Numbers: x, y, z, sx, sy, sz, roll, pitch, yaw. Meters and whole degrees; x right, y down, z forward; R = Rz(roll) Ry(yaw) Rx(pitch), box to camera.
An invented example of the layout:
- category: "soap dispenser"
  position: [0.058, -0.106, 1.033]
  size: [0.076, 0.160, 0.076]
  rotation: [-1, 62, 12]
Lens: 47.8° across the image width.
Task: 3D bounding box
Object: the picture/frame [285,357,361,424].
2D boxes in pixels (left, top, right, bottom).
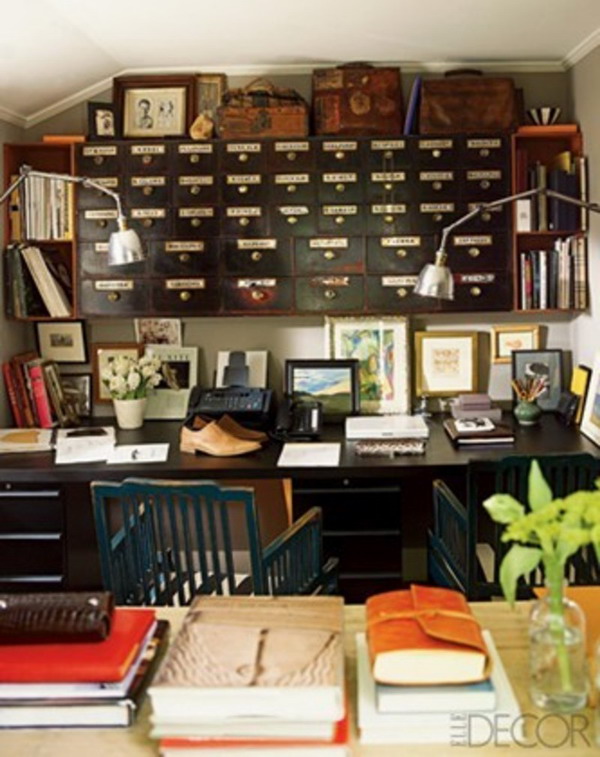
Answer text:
- category: "picture/frame"
  position: [0.118, 0.069, 3.297]
  size: [0.344, 0.276, 0.035]
  rotation: [0, -3, 1]

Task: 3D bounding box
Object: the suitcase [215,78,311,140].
- category: "suitcase"
  position: [-0.160, -1.221, 3.031]
  size: [0.325, 0.184, 0.309]
  rotation: [1, 21, 0]

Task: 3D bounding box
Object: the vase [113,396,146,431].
- category: "vase"
  position: [-0.825, 0.168, 3.281]
  size: [0.169, 0.122, 0.149]
  rotation: [-3, 9, -19]

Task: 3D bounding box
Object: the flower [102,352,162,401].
- category: "flower"
  position: [-0.829, -0.010, 3.336]
  size: [0.274, 0.222, 0.263]
  rotation: [0, -1, -23]

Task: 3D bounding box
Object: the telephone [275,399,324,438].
- category: "telephone"
  position: [-0.010, 0.183, 3.082]
  size: [0.188, 0.074, 0.191]
  rotation: [0, 43, 3]

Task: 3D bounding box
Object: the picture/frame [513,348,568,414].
- category: "picture/frame"
  position: [1.176, 0.013, 3.309]
  size: [0.356, 0.376, 0.029]
  rotation: [0, 0, 0]

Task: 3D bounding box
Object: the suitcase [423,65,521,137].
- category: "suitcase"
  position: [0.768, -1.244, 3.091]
  size: [0.334, 0.212, 0.330]
  rotation: [-1, 12, 1]

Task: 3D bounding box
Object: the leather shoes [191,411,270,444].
- category: "leather shoes"
  position: [-0.299, 0.221, 2.987]
  size: [0.386, 0.126, 0.123]
  rotation: [5, 11, -11]

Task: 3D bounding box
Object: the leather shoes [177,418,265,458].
- category: "leather shoes"
  position: [-0.332, 0.254, 2.861]
  size: [0.264, 0.092, 0.189]
  rotation: [1, 10, -2]

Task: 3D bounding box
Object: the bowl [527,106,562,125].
- category: "bowl"
  position: [1.191, -1.270, 3.282]
  size: [0.145, 0.051, 0.138]
  rotation: [2, 4, 0]

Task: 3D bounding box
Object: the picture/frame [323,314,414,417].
- category: "picture/frame"
  position: [0.344, -0.062, 3.380]
  size: [0.558, 0.577, 0.047]
  rotation: [-1, 3, -2]

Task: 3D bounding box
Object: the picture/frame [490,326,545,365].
- category: "picture/frame"
  position: [1.105, -0.171, 3.407]
  size: [0.218, 0.169, 0.023]
  rotation: [0, 0, 2]

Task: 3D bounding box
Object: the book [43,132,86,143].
- category: "book"
  position: [-1.158, -1.188, 3.317]
  size: [0.137, 0.025, 0.087]
  rotation: [0, 9, -4]

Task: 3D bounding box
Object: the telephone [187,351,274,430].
- category: "telephone"
  position: [-0.338, 0.075, 3.300]
  size: [0.404, 0.168, 0.513]
  rotation: [-4, 30, -7]

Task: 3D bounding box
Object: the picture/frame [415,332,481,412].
- category: "picture/frame"
  position: [0.744, -0.052, 3.390]
  size: [0.450, 0.439, 0.036]
  rotation: [-1, -1, -1]

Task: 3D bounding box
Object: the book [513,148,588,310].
- category: "book"
  position: [1.200, -0.688, 3.233]
  size: [0.333, 0.760, 0.311]
  rotation: [-1, 10, 14]

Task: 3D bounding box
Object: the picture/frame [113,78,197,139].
- category: "picture/frame"
  position: [-0.720, -1.312, 3.281]
  size: [0.378, 0.252, 0.046]
  rotation: [-1, 2, -1]

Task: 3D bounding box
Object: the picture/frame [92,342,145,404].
- category: "picture/frame"
  position: [-0.895, -0.041, 3.358]
  size: [0.353, 0.433, 0.044]
  rotation: [1, 3, -1]

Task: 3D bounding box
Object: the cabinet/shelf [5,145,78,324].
- category: "cabinet/shelf"
  position: [-1.275, -0.727, 3.321]
  size: [0.413, 0.872, 0.329]
  rotation: [-7, 11, -15]

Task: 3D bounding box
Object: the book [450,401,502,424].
- category: "book"
  position: [0.786, 0.137, 3.066]
  size: [0.138, 0.058, 0.132]
  rotation: [1, 5, 2]

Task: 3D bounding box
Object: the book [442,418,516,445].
- category: "book"
  position: [0.776, 0.225, 2.919]
  size: [0.255, 0.075, 0.275]
  rotation: [-3, 10, 3]

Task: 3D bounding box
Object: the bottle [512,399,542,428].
- category: "bottle"
  position: [1.059, 0.161, 3.137]
  size: [0.125, 0.110, 0.121]
  rotation: [1, 5, 20]
